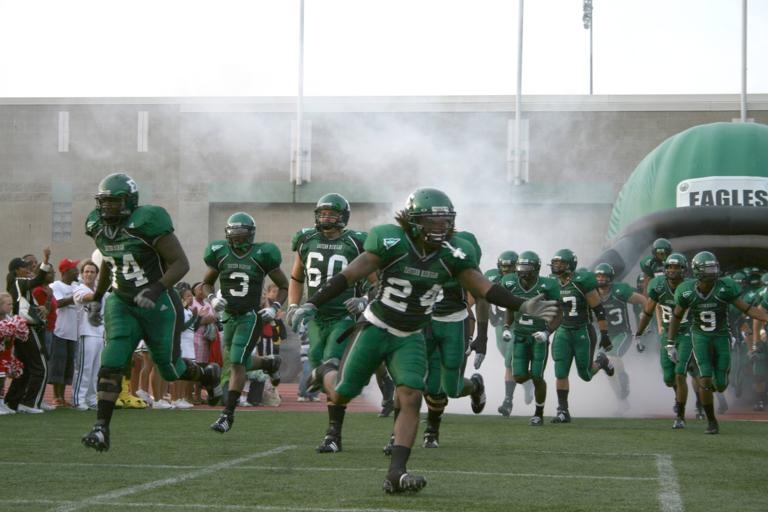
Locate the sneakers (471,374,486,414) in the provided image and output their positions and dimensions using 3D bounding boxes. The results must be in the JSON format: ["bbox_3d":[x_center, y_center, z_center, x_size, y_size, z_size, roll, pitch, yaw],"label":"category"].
[{"bbox_3d":[1.205,1.901,17.655,0.196,0.550,0.254,4,21,22],"label":"sneakers"}]

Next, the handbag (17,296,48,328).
[{"bbox_3d":[-5.338,0.848,19.467,0.506,0.474,0.298,15,-25,-14],"label":"handbag"}]

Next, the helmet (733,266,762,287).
[{"bbox_3d":[6.339,0.372,22.645,0.487,0.341,0.675,1,-2,16],"label":"helmet"}]

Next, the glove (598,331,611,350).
[{"bbox_3d":[3.364,1.282,19.736,0.162,0.295,0.317,1,-2,7],"label":"glove"}]

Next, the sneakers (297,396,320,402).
[{"bbox_3d":[-1.341,2.467,22.390,0.367,0.134,0.121,-2,-4,2],"label":"sneakers"}]

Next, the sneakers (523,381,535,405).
[{"bbox_3d":[2.442,2.258,21.957,0.177,0.493,0.201,1,-28,8],"label":"sneakers"}]

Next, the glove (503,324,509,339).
[{"bbox_3d":[1.839,1.148,19.748,0.092,0.075,0.193,11,33,3],"label":"glove"}]

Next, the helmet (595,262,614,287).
[{"bbox_3d":[3.606,0.317,21.529,0.320,0.363,0.412,-1,-6,12],"label":"helmet"}]

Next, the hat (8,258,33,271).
[{"bbox_3d":[-5.637,0.137,19.920,0.312,0.215,0.503,1,-2,-16],"label":"hat"}]

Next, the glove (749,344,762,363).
[{"bbox_3d":[6.172,1.617,21.634,0.184,0.224,0.127,-24,29,-38],"label":"glove"}]

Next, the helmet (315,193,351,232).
[{"bbox_3d":[-0.679,-0.584,17.052,0.419,0.420,0.544,4,8,34],"label":"helmet"}]

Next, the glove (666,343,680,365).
[{"bbox_3d":[4.193,1.406,18.840,0.185,0.234,0.094,20,-22,-37],"label":"glove"}]

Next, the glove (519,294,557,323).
[{"bbox_3d":[1.855,0.622,15.666,0.513,0.265,0.151,11,-20,-4],"label":"glove"}]

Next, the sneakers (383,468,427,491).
[{"bbox_3d":[0.223,2.480,14.335,0.445,0.229,0.198,-7,-8,14],"label":"sneakers"}]

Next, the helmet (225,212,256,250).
[{"bbox_3d":[-1.987,-0.312,17.598,0.375,0.537,0.350,1,-2,-11],"label":"helmet"}]

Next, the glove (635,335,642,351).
[{"bbox_3d":[3.914,1.345,19.974,0.117,0.236,0.250,1,-2,12],"label":"glove"}]

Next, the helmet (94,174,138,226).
[{"bbox_3d":[-3.306,-0.718,15.823,0.463,0.567,0.585,2,13,22],"label":"helmet"}]

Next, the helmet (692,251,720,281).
[{"bbox_3d":[4.594,0.152,18.557,0.358,0.362,0.415,-3,4,-17],"label":"helmet"}]

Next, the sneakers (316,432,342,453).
[{"bbox_3d":[-0.669,2.357,16.197,0.150,0.172,0.405,-5,-14,23],"label":"sneakers"}]

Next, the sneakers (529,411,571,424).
[{"bbox_3d":[2.485,2.403,19.324,0.682,0.263,0.218,2,-6,-8],"label":"sneakers"}]

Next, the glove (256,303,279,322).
[{"bbox_3d":[-1.432,0.706,15.652,0.246,0.124,0.338,4,6,2],"label":"glove"}]

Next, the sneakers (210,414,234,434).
[{"bbox_3d":[-2.145,2.208,17.162,0.176,0.188,0.357,34,1,13],"label":"sneakers"}]

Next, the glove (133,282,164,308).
[{"bbox_3d":[-2.823,0.474,15.459,0.245,0.141,0.359,36,43,8],"label":"glove"}]
